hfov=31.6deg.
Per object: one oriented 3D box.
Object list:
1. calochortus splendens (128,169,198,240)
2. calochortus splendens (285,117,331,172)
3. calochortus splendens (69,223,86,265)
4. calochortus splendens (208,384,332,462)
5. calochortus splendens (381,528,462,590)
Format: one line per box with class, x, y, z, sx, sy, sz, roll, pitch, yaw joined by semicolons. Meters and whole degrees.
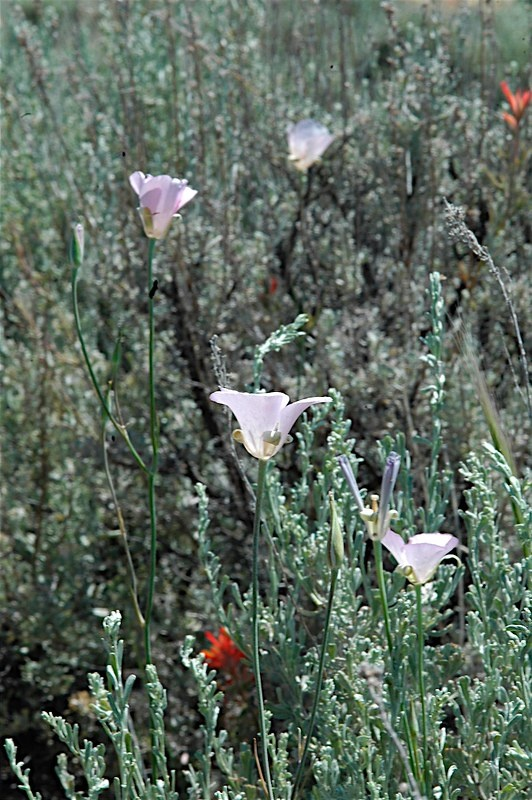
calochortus splendens;-0.135;-0.234;1.149;0.081;0.090;0.080;20;22;23
calochortus splendens;0.070;-0.467;1.713;0.069;0.056;0.097;21;47;32
calochortus splendens;-0.226;-0.184;1.119;0.016;0.049;0.040;-12;12;-2
calochortus splendens;-0.004;0.030;1.003;0.110;0.077;0.125;2;4;18
calochortus splendens;0.157;0.174;0.987;0.064;0.045;0.059;5;-9;-35
